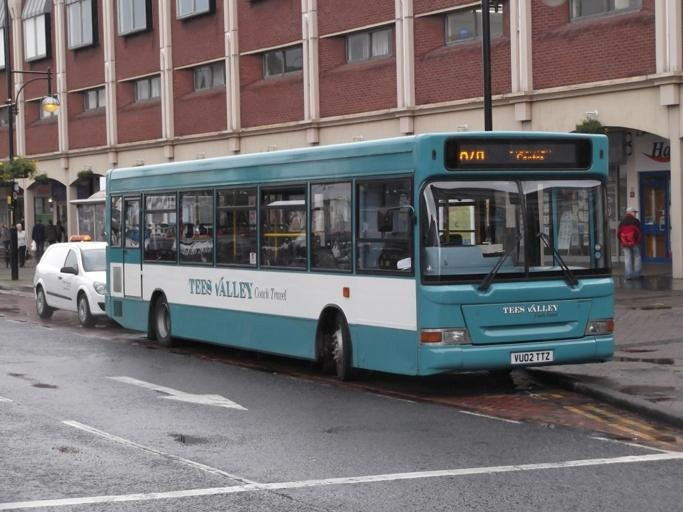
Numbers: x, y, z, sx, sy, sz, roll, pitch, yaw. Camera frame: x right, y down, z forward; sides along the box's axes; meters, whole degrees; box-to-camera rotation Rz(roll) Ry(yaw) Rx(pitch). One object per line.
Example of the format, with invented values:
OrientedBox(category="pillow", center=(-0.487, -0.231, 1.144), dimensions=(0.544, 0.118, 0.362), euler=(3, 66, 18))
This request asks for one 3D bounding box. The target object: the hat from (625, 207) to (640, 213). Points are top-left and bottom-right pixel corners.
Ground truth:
OrientedBox(category="hat", center=(9.018, -1.436, 25.781), dimensions=(0.441, 0.242, 0.605), euler=(-2, -1, 17))

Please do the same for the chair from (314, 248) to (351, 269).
OrientedBox(category="chair", center=(-0.135, 0.042, 11.238), dimensions=(0.240, 0.185, 0.428), euler=(0, -1, -27))

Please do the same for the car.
OrientedBox(category="car", center=(-6.146, 0.616, 18.966), dimensions=(1.474, 1.296, 2.578), euler=(1, -3, -33))

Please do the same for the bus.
OrientedBox(category="bus", center=(-0.830, -0.007, 13.260), dimensions=(10.042, 3.433, 2.451), euler=(-1, -1, 45))

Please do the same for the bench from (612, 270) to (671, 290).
OrientedBox(category="bench", center=(8.238, 0.703, 22.728), dimensions=(1.494, 0.353, 3.440), euler=(0, -1, 19))
